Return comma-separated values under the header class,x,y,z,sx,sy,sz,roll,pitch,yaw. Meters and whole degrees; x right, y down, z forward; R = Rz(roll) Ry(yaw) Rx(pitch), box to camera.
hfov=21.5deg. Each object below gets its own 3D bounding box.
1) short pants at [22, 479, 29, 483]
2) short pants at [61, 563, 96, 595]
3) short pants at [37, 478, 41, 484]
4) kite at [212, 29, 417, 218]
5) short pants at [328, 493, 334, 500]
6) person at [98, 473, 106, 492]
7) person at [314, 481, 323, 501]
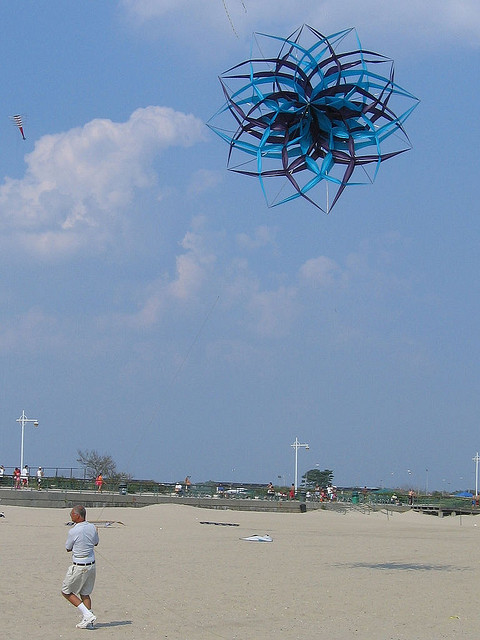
class,x,y,z,sx,sy,sz,roll,pitch,yaw
short pants,-10.084,7.791,60.486,0.125,0.170,0.662,-1,-11,9
short pants,-2.511,4.173,20.118,0.471,0.477,0.352,3,-11,-9
short pants,-9.505,7.866,61.022,0.165,0.272,0.928,3,-11,-10
kite,1.681,-3.240,26.458,3.500,3.755,0.756,4,-25,-38
short pants,5.186,10.098,71.539,0.313,0.405,0.122,-3,-1,7
person,-6.601,7.948,61.021,0.457,1.005,0.468,-2,-1,17
person,4.597,10.018,72.508,0.440,0.531,0.822,2,-22,0
